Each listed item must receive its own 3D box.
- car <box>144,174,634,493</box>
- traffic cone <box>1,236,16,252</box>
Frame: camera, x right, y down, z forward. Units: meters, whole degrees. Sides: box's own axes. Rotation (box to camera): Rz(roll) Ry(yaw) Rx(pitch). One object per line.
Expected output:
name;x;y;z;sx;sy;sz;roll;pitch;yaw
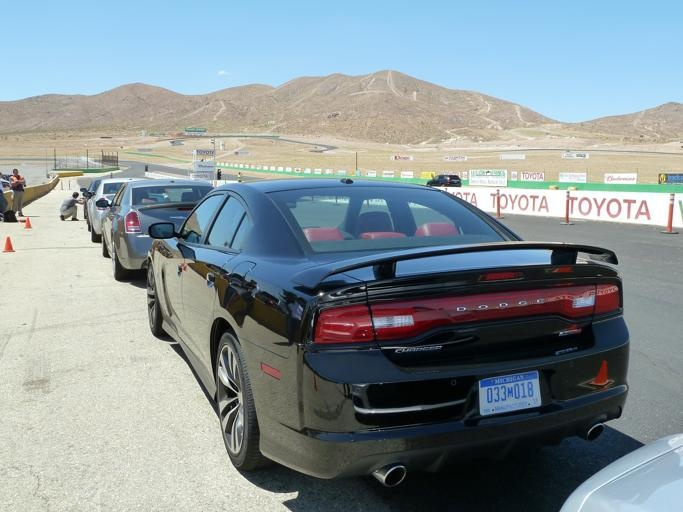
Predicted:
car;0.151;0.449;3.406;1.866;1.999;2.528;-9;13;-36
traffic cone;-9.015;-0.316;13.006;0.257;0.381;0.912;-9;12;-34
